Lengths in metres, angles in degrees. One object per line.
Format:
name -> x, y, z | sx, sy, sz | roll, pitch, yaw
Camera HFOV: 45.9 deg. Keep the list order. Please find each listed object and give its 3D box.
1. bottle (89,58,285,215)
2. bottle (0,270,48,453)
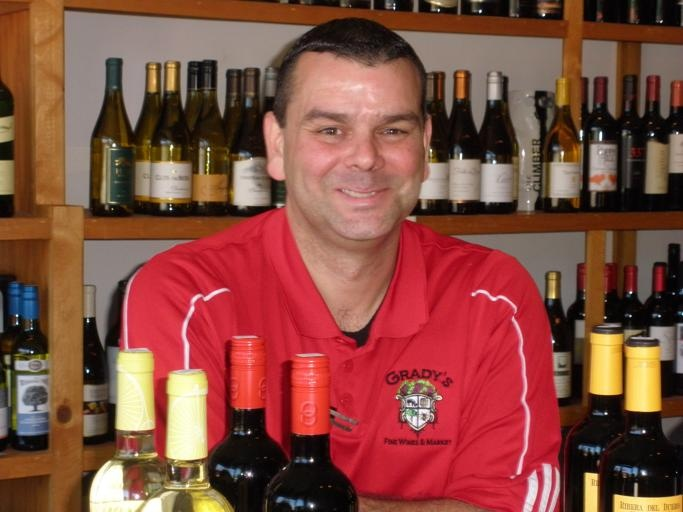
bottle -> -0.357, -0.267, 1.867 | 0.471, 0.434, 0.110 | 1, 5, -10
bottle -> -0.668, 0.227, 1.695 | 0.072, 0.334, 0.231 | 1, -3, -32
